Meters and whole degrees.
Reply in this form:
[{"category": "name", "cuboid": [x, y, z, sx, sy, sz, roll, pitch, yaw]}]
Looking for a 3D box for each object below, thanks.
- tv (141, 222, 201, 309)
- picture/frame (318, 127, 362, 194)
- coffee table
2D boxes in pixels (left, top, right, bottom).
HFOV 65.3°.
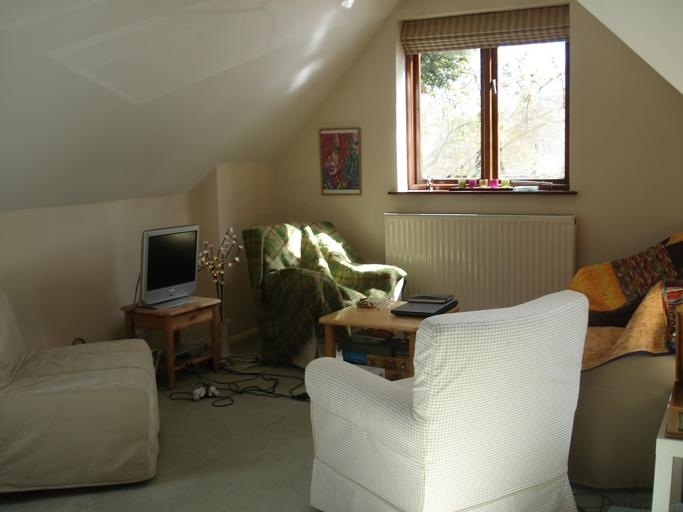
[{"category": "tv", "cuboid": [-1.263, 0.081, 3.889, 0.064, 0.658, 0.604, 6, 7, 31]}, {"category": "picture/frame", "cuboid": [-0.004, -0.934, 5.068, 0.586, 0.863, 0.030, 2, 7, 21]}, {"category": "coffee table", "cuboid": [0.248, 0.382, 3.423, 0.552, 0.361, 0.571, 3, 7, 27]}]
